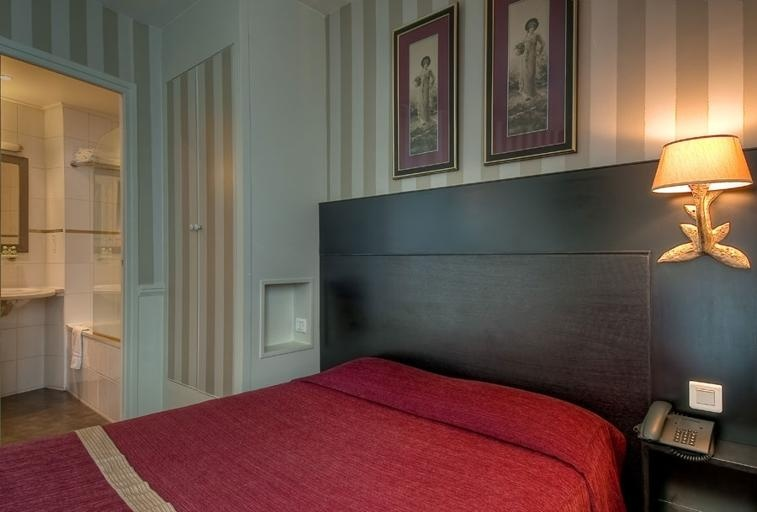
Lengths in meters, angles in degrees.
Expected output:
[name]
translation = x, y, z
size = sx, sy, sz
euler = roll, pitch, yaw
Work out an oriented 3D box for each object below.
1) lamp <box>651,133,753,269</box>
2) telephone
[lamp]
translation = 1.551, -0.244, 2.409
size = 0.413, 0.639, 0.233
euler = -1, 6, 30
[telephone]
translation = 1.416, 0.838, 2.401
size = 0.241, 0.095, 0.245
euler = 9, 41, 42
